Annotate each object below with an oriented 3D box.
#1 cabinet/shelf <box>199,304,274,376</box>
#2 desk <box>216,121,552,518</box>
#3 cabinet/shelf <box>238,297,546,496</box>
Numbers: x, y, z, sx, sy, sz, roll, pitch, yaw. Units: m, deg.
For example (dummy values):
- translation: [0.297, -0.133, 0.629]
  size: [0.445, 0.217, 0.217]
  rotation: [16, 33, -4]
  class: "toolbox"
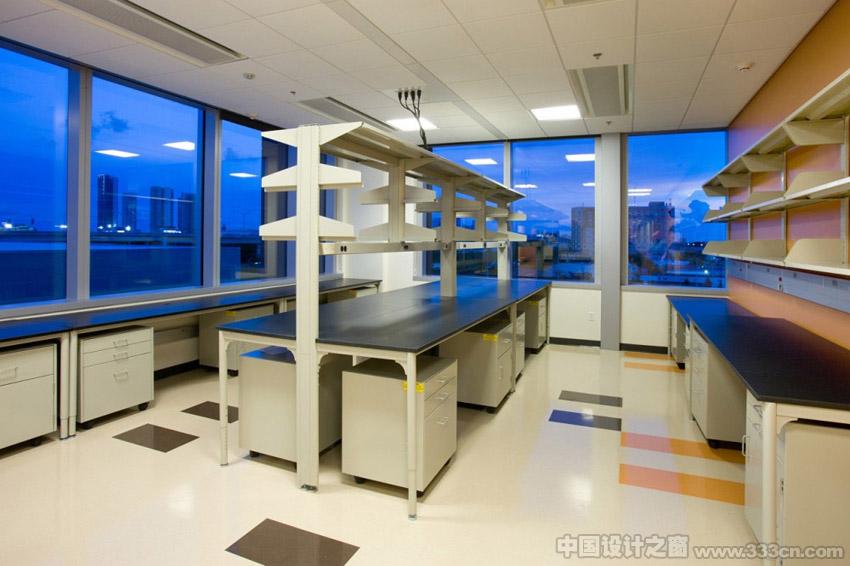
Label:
- translation: [-2.177, 0.561, 6.724]
  size: [0.694, 0.954, 1.195]
  rotation: [1, 1, 13]
  class: "cabinet/shelf"
- translation: [0.211, 0.051, 6.384]
  size: [1.888, 2.730, 4.729]
  rotation: [4, 7, 27]
  class: "desk"
- translation: [-0.394, 0.850, 4.721]
  size: [1.293, 0.633, 2.781]
  rotation: [0, 2, 21]
  class: "cabinet/shelf"
